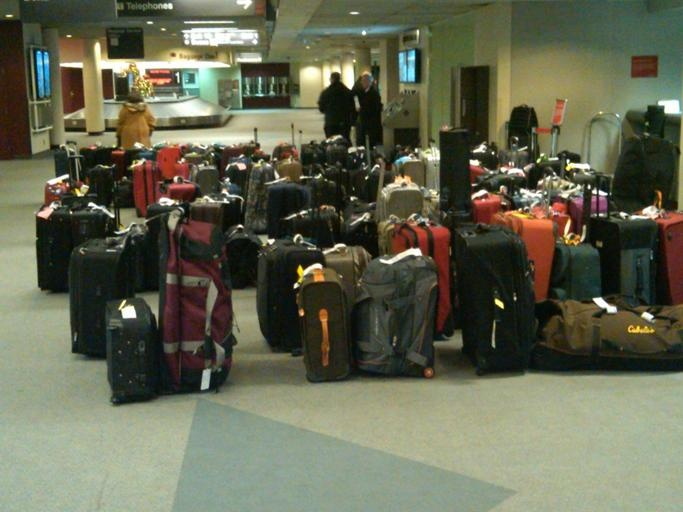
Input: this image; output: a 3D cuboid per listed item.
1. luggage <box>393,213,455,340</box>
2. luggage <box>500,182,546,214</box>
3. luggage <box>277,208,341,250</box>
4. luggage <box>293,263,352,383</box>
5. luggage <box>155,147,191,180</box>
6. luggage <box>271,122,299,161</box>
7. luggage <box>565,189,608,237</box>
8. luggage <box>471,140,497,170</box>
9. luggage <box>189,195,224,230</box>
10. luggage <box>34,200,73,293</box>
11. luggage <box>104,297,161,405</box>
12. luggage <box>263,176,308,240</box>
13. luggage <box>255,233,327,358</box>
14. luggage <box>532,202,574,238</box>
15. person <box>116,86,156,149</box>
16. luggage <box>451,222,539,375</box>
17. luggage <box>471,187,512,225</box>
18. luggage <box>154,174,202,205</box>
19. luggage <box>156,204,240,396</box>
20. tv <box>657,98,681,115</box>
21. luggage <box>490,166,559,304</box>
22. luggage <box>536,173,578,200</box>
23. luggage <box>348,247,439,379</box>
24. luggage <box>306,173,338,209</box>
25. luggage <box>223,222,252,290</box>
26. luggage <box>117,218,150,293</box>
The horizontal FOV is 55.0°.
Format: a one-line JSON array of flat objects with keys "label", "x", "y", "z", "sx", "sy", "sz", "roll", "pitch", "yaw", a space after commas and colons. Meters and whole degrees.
[{"label": "luggage", "x": 0.528, "y": 0.149, "z": 4.268, "sx": 0.345, "sy": 1.046, "sz": 0.660, "roll": -4, "pitch": 11, "yaw": -6}, {"label": "luggage", "x": 1.505, "y": -0.472, "z": 5.476, "sx": 0.297, "sy": 0.116, "sz": 0.313, "roll": 4, "pitch": 16, "yaw": -1}, {"label": "luggage", "x": -0.265, "y": -0.289, "z": 6.102, "sx": 0.508, "sy": 0.537, "sz": 0.372, "roll": 4, "pitch": 5, "yaw": 3}, {"label": "luggage", "x": -0.136, "y": 0.365, "z": 4.304, "sx": 0.318, "sy": 0.696, "sz": 0.682, "roll": -5, "pitch": 16, "yaw": -5}, {"label": "luggage", "x": -2.539, "y": -1.492, "z": 9.775, "sx": 0.541, "sy": 0.558, "sz": 0.310, "roll": -10, "pitch": 53, "yaw": -15}, {"label": "luggage", "x": -0.823, "y": -1.598, "z": 9.503, "sx": 0.325, "sy": 0.484, "sz": 0.354, "roll": 4, "pitch": 4, "yaw": -21}, {"label": "luggage", "x": 1.901, "y": -0.356, "z": 4.986, "sx": 0.283, "sy": 0.326, "sz": 0.434, "roll": 1, "pitch": 5, "yaw": 2}, {"label": "luggage", "x": 1.759, "y": -1.256, "z": 8.101, "sx": 0.227, "sy": 0.317, "sz": 0.715, "roll": -2, "pitch": 15, "yaw": 3}, {"label": "luggage", "x": -1.253, "y": -0.403, "z": 6.064, "sx": 0.385, "sy": 0.381, "sz": 0.221, "roll": 3, "pitch": 14, "yaw": 5}, {"label": "luggage", "x": -2.508, "y": -0.052, "z": 5.703, "sx": 0.340, "sy": 0.664, "sz": 0.125, "roll": 1, "pitch": 11, "yaw": 12}, {"label": "luggage", "x": -1.280, "y": 0.558, "z": 3.958, "sx": 0.274, "sy": 0.515, "sz": 0.483, "roll": -2, "pitch": 12, "yaw": -25}, {"label": "luggage", "x": -0.602, "y": -0.575, "z": 6.978, "sx": 0.601, "sy": 0.897, "sz": 0.478, "roll": 1, "pitch": 17, "yaw": -3}, {"label": "luggage", "x": -0.409, "y": 0.333, "z": 5.016, "sx": 0.579, "sy": 1.094, "sz": 1.102, "roll": -1, "pitch": 8, "yaw": -5}, {"label": "luggage", "x": 1.585, "y": -0.300, "z": 4.873, "sx": 0.218, "sy": 0.330, "sz": 0.123, "roll": 3, "pitch": 1, "yaw": -22}, {"label": "person", "x": -3.808, "y": -2.495, "z": 12.087, "sx": 0.654, "sy": 0.474, "sz": 1.400, "roll": -4, "pitch": -31, "yaw": -19}, {"label": "luggage", "x": 0.989, "y": 0.265, "z": 4.152, "sx": 0.517, "sy": 0.883, "sz": 0.387, "roll": 0, "pitch": 11, "yaw": 10}, {"label": "luggage", "x": 1.213, "y": -0.444, "z": 5.418, "sx": 0.294, "sy": 0.321, "sz": 0.307, "roll": -2, "pitch": 9, "yaw": -9}, {"label": "luggage", "x": -1.826, "y": -0.742, "z": 7.345, "sx": 0.470, "sy": 0.383, "sz": 0.488, "roll": 0, "pitch": 8, "yaw": -11}, {"label": "luggage", "x": -0.896, "y": 0.259, "z": 3.946, "sx": 0.434, "sy": 1.085, "sz": 0.257, "roll": -4, "pitch": 11, "yaw": -9}, {"label": "tv", "x": 4.926, "y": -2.231, "z": 9.798, "sx": 0.296, "sy": 0.193, "sz": 1.180, "roll": 4, "pitch": 13, "yaw": 26}, {"label": "luggage", "x": 1.443, "y": -0.192, "z": 4.839, "sx": 0.533, "sy": 1.061, "sz": 0.672, "roll": -6, "pitch": 17, "yaw": -6}, {"label": "luggage", "x": 1.759, "y": -0.559, "z": 5.314, "sx": 0.270, "sy": 0.149, "sz": 0.393, "roll": 2, "pitch": 6, "yaw": 11}, {"label": "luggage", "x": 0.284, "y": 0.348, "z": 4.374, "sx": 0.593, "sy": 0.908, "sz": 0.694, "roll": 0, "pitch": 3, "yaw": -2}, {"label": "luggage", "x": -0.219, "y": -0.715, "z": 7.292, "sx": 0.325, "sy": 0.328, "sz": 0.691, "roll": -2, "pitch": 12, "yaw": -4}, {"label": "luggage", "x": -0.885, "y": 0.021, "z": 5.562, "sx": 0.239, "sy": 0.490, "sz": 0.336, "roll": -2, "pitch": 37, "yaw": -7}, {"label": "luggage", "x": -1.636, "y": 0.018, "z": 5.149, "sx": 0.275, "sy": 0.378, "sz": 0.522, "roll": -6, "pitch": -23, "yaw": -14}]
